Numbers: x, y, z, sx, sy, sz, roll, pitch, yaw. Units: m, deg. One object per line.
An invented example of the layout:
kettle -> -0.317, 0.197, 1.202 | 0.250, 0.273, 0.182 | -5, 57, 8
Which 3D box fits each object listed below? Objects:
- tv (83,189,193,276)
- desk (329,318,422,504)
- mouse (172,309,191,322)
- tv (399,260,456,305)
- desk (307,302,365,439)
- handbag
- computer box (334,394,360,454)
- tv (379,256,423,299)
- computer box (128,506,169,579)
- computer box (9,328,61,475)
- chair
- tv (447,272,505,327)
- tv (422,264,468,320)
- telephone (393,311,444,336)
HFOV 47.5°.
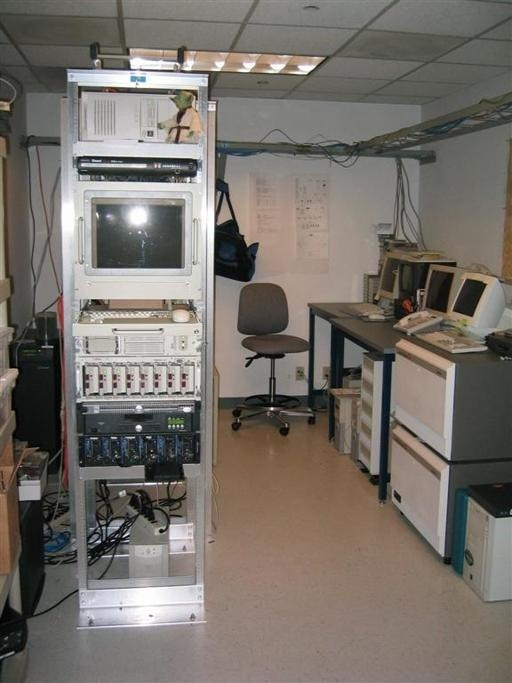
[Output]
tv -> -0.400, -0.368, 1.901 | 0.278, 0.206, 0.031 | 0, 5, -4
desk -> 0.666, 0.405, 3.188 | 0.344, 0.786, 0.897 | 0, 10, -4
mouse -> -0.258, -0.094, 2.042 | 0.055, 0.029, 0.056 | -6, 17, -25
tv -> 1.099, -0.424, 3.796 | 0.286, 0.405, 0.372 | 1, 2, -6
desk -> 0.571, 0.201, 4.226 | 0.327, 0.734, 0.838 | 0, 17, -2
handbag -> -0.145, -0.817, 4.381 | 0.322, 0.761, 0.541 | 1, 8, 0
computer box -> 0.614, 0.526, 3.806 | 0.207, 0.354, 0.229 | 2, 4, -13
tv -> 0.984, -0.462, 4.066 | 0.252, 0.321, 0.448 | 2, 13, 1
computer box -> -0.405, 0.828, 2.336 | 0.189, 0.172, 0.355 | 1, 11, -5
computer box -> -1.334, 0.379, 3.534 | 0.289, 0.791, 0.244 | -2, 9, -19
chair -> 0.144, 0.091, 4.481 | 0.637, 1.060, 0.812 | 1, 8, -1
tv -> 1.056, -0.194, 2.764 | 0.126, 0.214, 0.237 | 8, 12, -19
tv -> 1.033, -0.263, 3.159 | 0.170, 0.320, 0.316 | 7, 6, -15
telephone -> 0.875, -0.104, 3.111 | 0.150, 0.071, 0.197 | -23, 6, -5
